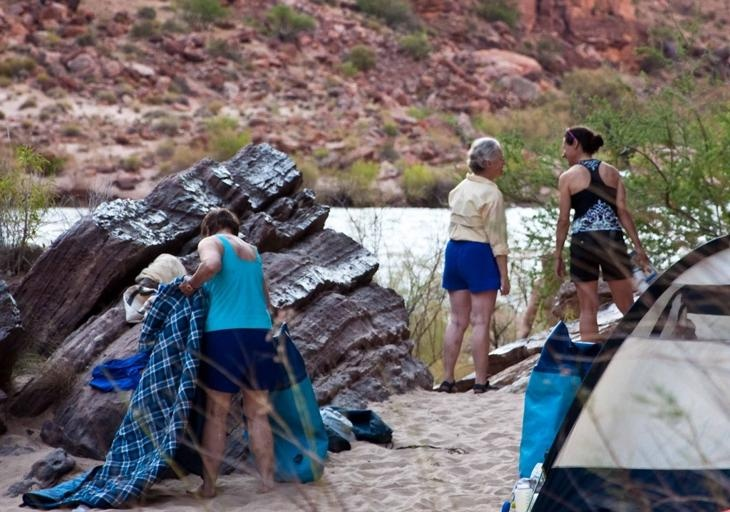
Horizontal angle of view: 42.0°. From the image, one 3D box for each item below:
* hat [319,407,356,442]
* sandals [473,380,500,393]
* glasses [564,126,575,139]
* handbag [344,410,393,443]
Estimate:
[{"bbox_3d":[-0.396,2.189,12.532,0.467,0.318,0.348,43,1,-6],"label":"hat"},{"bbox_3d":[1.732,1.905,13.775,0.162,0.190,0.419,5,11,45],"label":"sandals"},{"bbox_3d":[2.740,-1.652,12.761,0.040,0.151,0.091,-26,-2,22],"label":"glasses"},{"bbox_3d":[0.022,2.274,12.617,0.574,0.227,0.378,31,50,21],"label":"handbag"}]
